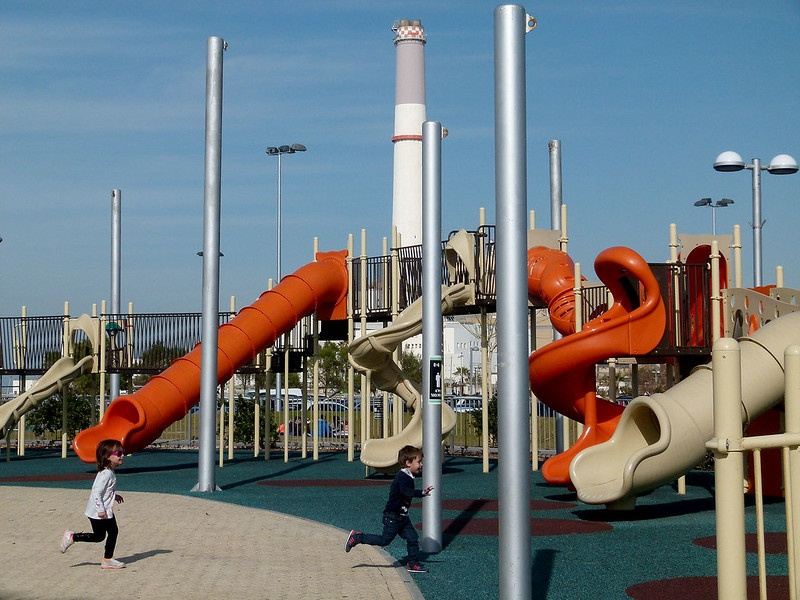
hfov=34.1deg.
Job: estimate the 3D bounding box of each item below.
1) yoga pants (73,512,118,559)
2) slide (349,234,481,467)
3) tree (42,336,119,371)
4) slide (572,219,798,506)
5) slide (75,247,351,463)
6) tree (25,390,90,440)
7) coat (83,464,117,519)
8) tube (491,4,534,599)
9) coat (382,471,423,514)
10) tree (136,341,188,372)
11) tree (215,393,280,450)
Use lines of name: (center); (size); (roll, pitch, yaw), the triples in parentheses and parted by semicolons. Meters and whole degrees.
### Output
yoga pants: (-3.787, 2.900, 16.351); (0.579, 0.724, 0.430); (2, 26, -11)
slide: (0.221, 0.985, 25.330); (2.464, 4.611, 2.315); (-2, -3, 9)
tree: (-7.139, 1.201, 29.171); (1.601, 0.573, 1.604); (2, -5, -13)
slide: (4.402, 1.667, 19.519); (3.516, 2.942, 2.113); (0, -3, -20)
slide: (-3.974, 1.636, 28.461); (1.492, 7.178, 2.088); (34, -24, 35)
tree: (-9.179, 2.905, 35.582); (2.078, 1.220, 1.904); (-3, 9, -4)
coat: (-3.726, 2.406, 16.287); (0.356, 0.626, 0.385); (-1, -3, -14)
tube: (1.215, 0.000, 13.988); (0.438, 6.347, 0.194); (-2, -3, 5)
coat: (0.061, 2.367, 16.242); (0.458, 0.578, 0.671); (5, -6, -2)
tree: (-4.963, 1.183, 27.452); (1.560, 0.555, 1.602); (0, -4, -1)
tree: (-4.117, 3.235, 34.600); (1.861, 1.864, 1.423); (0, 2, 11)
